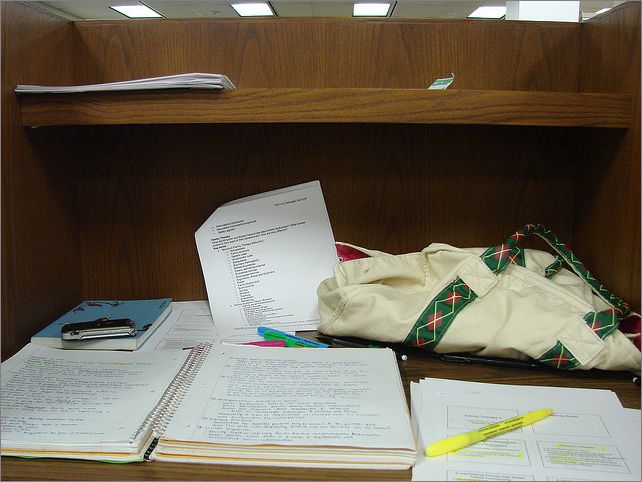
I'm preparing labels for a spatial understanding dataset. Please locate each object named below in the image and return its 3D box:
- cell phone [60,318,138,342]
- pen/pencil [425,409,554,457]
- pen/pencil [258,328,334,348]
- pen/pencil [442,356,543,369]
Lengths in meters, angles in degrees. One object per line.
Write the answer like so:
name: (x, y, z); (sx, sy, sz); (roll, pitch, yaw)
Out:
cell phone: (-0.415, 0.165, 0.935); (0.130, 0.044, 0.056); (2, -19, -17)
pen/pencil: (0.246, 0.282, 0.730); (0.196, 0.018, 0.019); (-8, -29, -23)
pen/pencil: (-0.049, 0.186, 0.955); (0.108, 0.017, 0.023); (8, -7, 21)
pen/pencil: (0.304, 0.211, 0.872); (0.125, 0.010, 0.021); (5, 1, 6)
